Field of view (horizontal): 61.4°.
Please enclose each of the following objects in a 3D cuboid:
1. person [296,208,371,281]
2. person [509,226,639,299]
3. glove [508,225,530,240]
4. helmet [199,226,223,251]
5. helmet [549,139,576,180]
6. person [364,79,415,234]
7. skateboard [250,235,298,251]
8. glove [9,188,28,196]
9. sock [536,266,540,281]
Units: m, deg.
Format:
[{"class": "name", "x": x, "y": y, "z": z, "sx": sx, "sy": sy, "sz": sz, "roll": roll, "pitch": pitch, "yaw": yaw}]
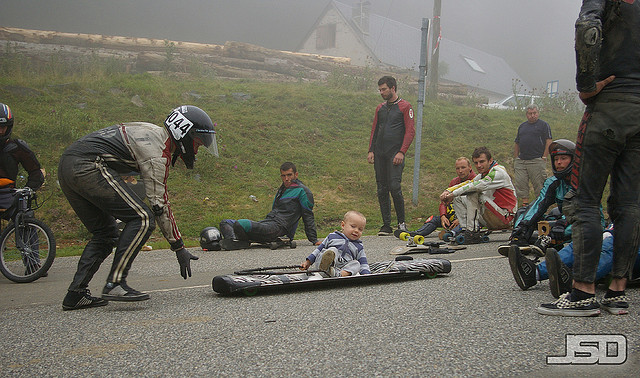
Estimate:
[{"class": "person", "x": 0.329, "y": 0.750, "z": 7.261, "sx": 0.922, "sy": 0.878, "sz": 0.698, "roll": 16, "pitch": -9, "yaw": -19}, {"class": "person", "x": 3.173, "y": 0.851, "z": 6.608, "sx": 1.591, "sy": 0.498, "sz": 0.839, "roll": -1, "pitch": -2, "yaw": -24}, {"class": "glove", "x": 3.188, "y": 0.684, "z": 8.592, "sx": 0.114, "sy": 0.213, "sz": 0.155, "roll": 41, "pitch": 5, "yaw": 0}, {"class": "helmet", "x": -2.125, "y": 0.956, "z": 10.548, "sx": 0.439, "sy": 0.407, "sz": 0.538, "roll": -10, "pitch": 20, "yaw": -35}, {"class": "helmet", "x": 3.290, "y": -0.381, "z": 7.337, "sx": 0.290, "sy": 0.561, "sz": 0.557, "roll": 1, "pitch": 10, "yaw": 19}, {"class": "person", "x": 1.566, "y": -0.665, "z": 11.615, "sx": 0.865, "sy": 3.332, "sz": 1.084, "roll": -5, "pitch": 10, "yaw": -14}, {"class": "skateboard", "x": -0.801, "y": 0.982, "z": 10.478, "sx": 0.586, "sy": 0.137, "sz": 0.413, "roll": -2, "pitch": 2, "yaw": -34}, {"class": "glove", "x": -4.771, "y": 0.043, "z": 8.555, "sx": 0.161, "sy": 0.072, "sz": 0.228, "roll": -6, "pitch": -1, "yaw": 41}, {"class": "sock", "x": 2.723, "y": 1.055, "z": 6.747, "sx": 0.052, "sy": 0.165, "sz": 0.032, "roll": -9, "pitch": 12, "yaw": -33}]
